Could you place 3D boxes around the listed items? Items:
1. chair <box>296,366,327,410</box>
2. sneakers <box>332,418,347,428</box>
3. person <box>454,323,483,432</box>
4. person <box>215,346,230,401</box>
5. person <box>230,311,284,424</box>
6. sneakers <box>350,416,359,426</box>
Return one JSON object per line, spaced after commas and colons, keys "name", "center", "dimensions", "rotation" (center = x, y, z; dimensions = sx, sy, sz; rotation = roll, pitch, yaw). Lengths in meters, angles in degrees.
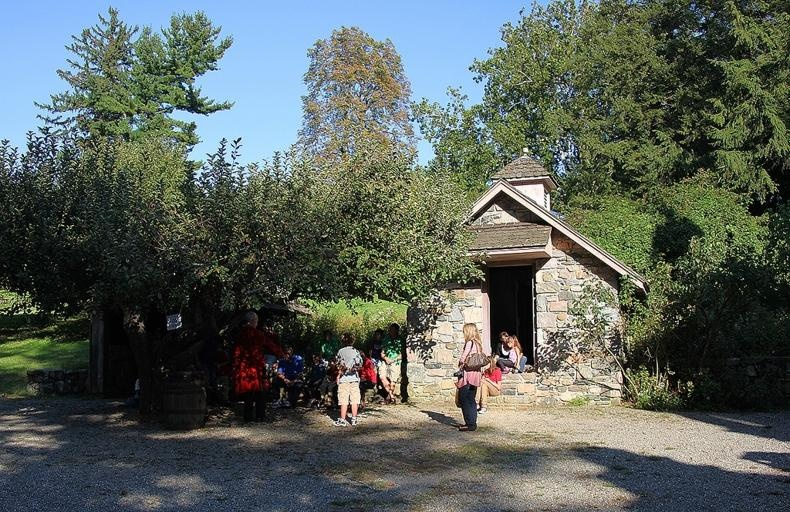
{"name": "chair", "center": [-2.522, 3.798, 20.961], "dimensions": [0.803, 1.800, 0.964], "rotation": [9, -10, -23]}
{"name": "sneakers", "center": [-1.393, 4.307, 17.522], "dimensions": [0.412, 0.257, 0.156], "rotation": [4, -1, 3]}
{"name": "person", "center": [1.873, 3.047, 17.093], "dimensions": [0.647, 2.669, 1.004], "rotation": [-2, -9, 5]}
{"name": "person", "center": [-4.989, 3.501, 19.784], "dimensions": [0.421, 1.568, 1.313], "rotation": [1, -10, -14]}
{"name": "person", "center": [-3.617, 2.851, 17.398], "dimensions": [1.028, 2.787, 1.335], "rotation": [1, -9, -13]}
{"name": "sneakers", "center": [-1.050, 4.318, 17.618], "dimensions": [0.232, 0.226, 0.234], "rotation": [-2, -1, 4]}
